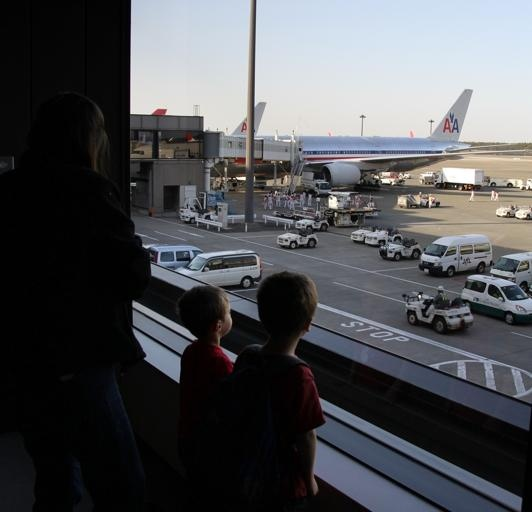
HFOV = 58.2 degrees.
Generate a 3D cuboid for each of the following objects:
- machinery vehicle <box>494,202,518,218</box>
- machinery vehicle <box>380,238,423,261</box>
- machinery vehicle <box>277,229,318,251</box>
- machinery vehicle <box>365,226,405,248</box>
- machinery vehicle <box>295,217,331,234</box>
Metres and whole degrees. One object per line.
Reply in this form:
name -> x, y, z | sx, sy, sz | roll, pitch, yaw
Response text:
machinery vehicle -> 6.076, -1.157, 12.104 | 0.699, 0.344, 0.416 | -5, 5, -34
machinery vehicle -> 2.978, -0.127, 10.960 | 0.748, 0.390, 0.575 | -7, 15, -24
machinery vehicle -> 0.858, -0.446, 12.851 | 0.874, 0.411, 0.526 | -2, 6, -36
machinery vehicle -> 3.173, -0.544, 13.096 | 0.928, 0.442, 0.564 | -4, 5, -34
machinery vehicle -> 1.663, -1.141, 17.625 | 0.982, 0.472, 0.585 | -1, 4, -33
